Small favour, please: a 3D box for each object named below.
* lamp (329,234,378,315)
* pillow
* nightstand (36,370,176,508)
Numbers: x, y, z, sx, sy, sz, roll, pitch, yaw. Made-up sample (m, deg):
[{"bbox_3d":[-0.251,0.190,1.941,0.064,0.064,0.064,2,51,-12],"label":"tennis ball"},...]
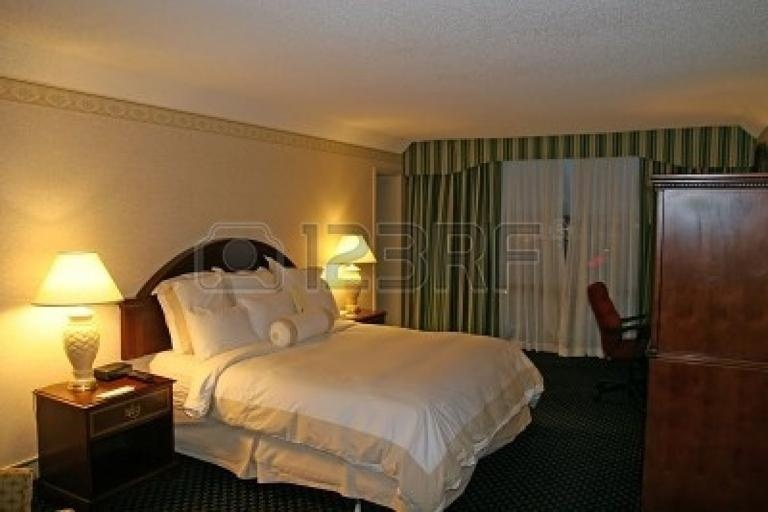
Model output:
[{"bbox_3d":[-0.449,0.275,7.496,0.434,0.582,0.437,-15,24,-40],"label":"lamp"},{"bbox_3d":[-1.594,0.496,5.543,0.804,0.821,1.838,-2,0,36],"label":"pillow"},{"bbox_3d":[-2.259,1.379,4.911,0.965,1.102,1.176,-1,1,26],"label":"nightstand"}]
